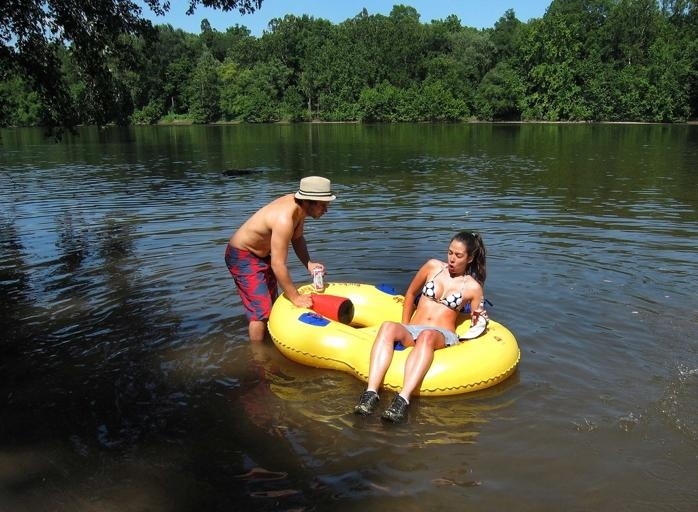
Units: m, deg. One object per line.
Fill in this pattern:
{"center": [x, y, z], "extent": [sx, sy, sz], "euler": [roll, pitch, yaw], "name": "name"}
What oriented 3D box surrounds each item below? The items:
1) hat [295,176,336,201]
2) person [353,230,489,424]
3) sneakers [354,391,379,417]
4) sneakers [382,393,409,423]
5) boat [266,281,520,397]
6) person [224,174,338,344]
{"center": [-0.425, -0.780, 6.870], "extent": [0.316, 0.158, 0.351], "euler": [-2, 11, -27], "name": "hat"}
{"center": [0.824, 0.730, 6.458], "extent": [1.047, 1.231, 2.252], "euler": [15, 41, 27], "name": "person"}
{"center": [0.219, 1.464, 6.044], "extent": [0.170, 0.204, 0.341], "euler": [9, 17, 38], "name": "sneakers"}
{"center": [0.516, 1.510, 5.927], "extent": [0.376, 0.211, 0.158], "euler": [-13, 18, -41], "name": "sneakers"}
{"center": [0.447, 1.034, 6.662], "extent": [2.121, 0.597, 1.383], "euler": [11, 15, 31], "name": "boat"}
{"center": [-0.891, 0.248, 7.472], "extent": [1.257, 2.538, 1.100], "euler": [3, 21, -8], "name": "person"}
